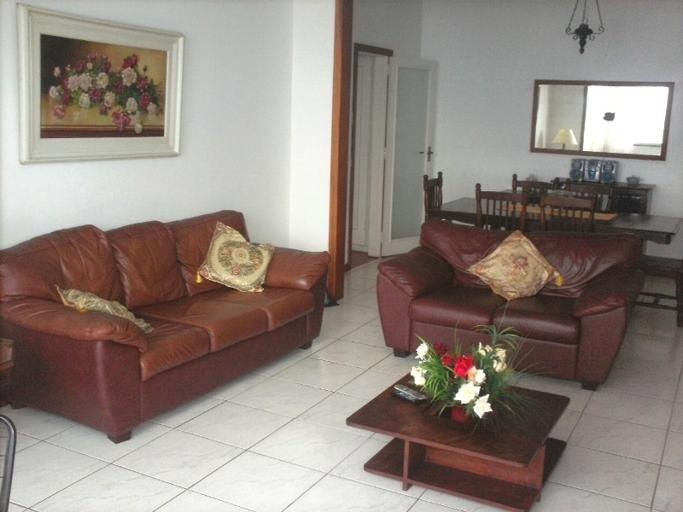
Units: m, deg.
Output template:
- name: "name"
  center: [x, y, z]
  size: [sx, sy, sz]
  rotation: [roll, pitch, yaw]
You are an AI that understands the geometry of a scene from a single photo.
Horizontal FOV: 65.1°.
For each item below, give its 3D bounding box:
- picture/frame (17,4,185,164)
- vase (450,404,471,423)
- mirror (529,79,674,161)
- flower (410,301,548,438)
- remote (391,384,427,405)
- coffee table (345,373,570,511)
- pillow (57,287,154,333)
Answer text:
- name: "picture/frame"
  center: [-1.753, -1.232, 3.808]
  size: [0.060, 0.971, 1.426]
  rotation: [10, 12, 38]
- name: "vase"
  center: [0.607, 0.785, 2.733]
  size: [0.091, 0.065, 0.092]
  rotation: [4, 4, 40]
- name: "mirror"
  center: [3.479, -1.787, 7.000]
  size: [1.244, 0.719, 0.025]
  rotation: [6, 15, 23]
- name: "flower"
  center: [0.687, 0.541, 2.850]
  size: [0.607, 0.429, 0.626]
  rotation: [-1, 9, -6]
- name: "remote"
  center: [0.371, 0.757, 2.946]
  size: [0.123, 0.037, 0.085]
  rotation: [6, 15, 18]
- name: "coffee table"
  center: [0.645, 0.970, 2.893]
  size: [0.940, 0.404, 0.866]
  rotation: [7, 15, 29]
- name: "pillow"
  center: [-1.464, 0.329, 3.269]
  size: [0.490, 0.132, 0.114]
  rotation: [18, 20, -19]
